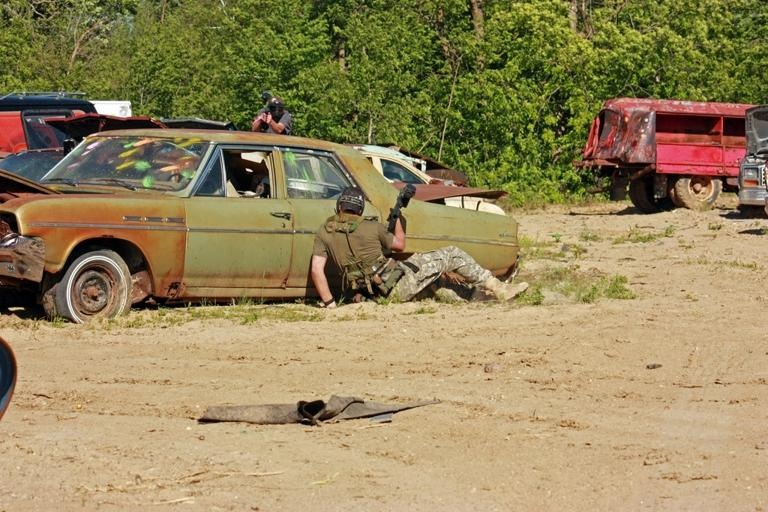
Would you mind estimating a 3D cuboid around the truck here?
[{"bbox_3d":[7.183,-2.613,23.269,4.466,2.109,2.458,-3,7,-28],"label":"truck"}]

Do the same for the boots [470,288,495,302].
[{"bbox_3d":[1.271,0.494,12.080,0.203,0.079,0.202,2,-18,42],"label":"boots"}]

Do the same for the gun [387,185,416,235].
[{"bbox_3d":[0.219,-0.576,11.893,0.264,0.673,0.154,9,44,-29],"label":"gun"}]

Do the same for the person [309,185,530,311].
[{"bbox_3d":[0.372,-0.122,12.011,2.785,1.506,1.039,-5,4,-18],"label":"person"}]

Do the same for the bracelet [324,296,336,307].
[{"bbox_3d":[-0.668,0.547,11.478,0.110,0.050,0.128,-12,-13,-32],"label":"bracelet"}]

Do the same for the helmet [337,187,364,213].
[{"bbox_3d":[-0.416,-0.683,11.663,0.258,0.256,0.347,14,-13,-7],"label":"helmet"}]

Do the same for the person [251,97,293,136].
[{"bbox_3d":[-1.846,-2.137,15.075,0.568,0.781,1.385,6,13,-6],"label":"person"}]
